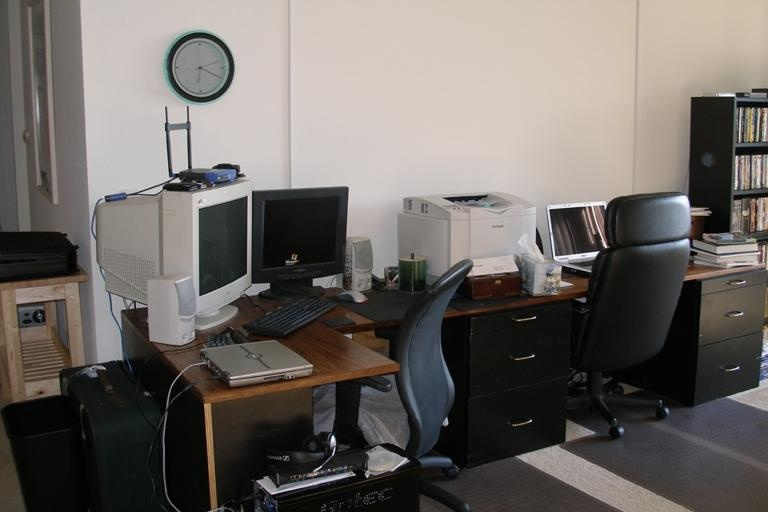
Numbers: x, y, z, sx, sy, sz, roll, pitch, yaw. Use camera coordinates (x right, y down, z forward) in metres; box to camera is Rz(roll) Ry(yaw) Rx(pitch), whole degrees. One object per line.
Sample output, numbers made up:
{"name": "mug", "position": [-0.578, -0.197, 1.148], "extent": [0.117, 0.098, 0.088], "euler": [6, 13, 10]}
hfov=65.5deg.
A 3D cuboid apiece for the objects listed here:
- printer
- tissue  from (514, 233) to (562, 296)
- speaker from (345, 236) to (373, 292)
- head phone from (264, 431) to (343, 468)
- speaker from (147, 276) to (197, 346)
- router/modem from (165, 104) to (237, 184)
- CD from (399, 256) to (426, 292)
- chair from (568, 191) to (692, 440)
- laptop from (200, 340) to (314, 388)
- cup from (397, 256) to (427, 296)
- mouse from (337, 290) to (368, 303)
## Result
{"name": "printer", "position": [0.525, -0.190, 3.945], "extent": [0.896, 0.566, 0.503], "euler": [-6, 16, -34]}
{"name": "tissue ", "position": [0.967, 0.080, 3.829], "extent": [0.242, 0.403, 0.423], "euler": [-7, 11, -20]}
{"name": "speaker", "position": [-0.177, 0.050, 3.888], "extent": [0.208, 0.341, 0.220], "euler": [5, 17, 16]}
{"name": "head phone", "position": [-0.353, 0.857, 2.641], "extent": [0.324, 0.089, 0.263], "euler": [-6, -9, -17]}
{"name": "speaker", "position": [-1.053, 0.270, 2.987], "extent": [0.230, 0.309, 0.176], "euler": [2, 7, 8]}
{"name": "router/modem", "position": [-0.959, -0.588, 3.208], "extent": [0.380, 0.384, 0.377], "euler": [-12, 21, -37]}
{"name": "CD", "position": [0.225, 0.112, 3.816], "extent": [0.214, 0.230, 0.211], "euler": [0, 7, -2]}
{"name": "chair", "position": [1.559, 0.356, 4.029], "extent": [0.719, 1.700, 0.712], "euler": [2, 21, 12]}
{"name": "laptop", "position": [-0.574, 0.480, 2.735], "extent": [0.468, 0.112, 0.331], "euler": [-6, 11, -18]}
{"name": "cup", "position": [0.179, 0.123, 3.766], "extent": [0.221, 0.236, 0.218], "euler": [0, 7, 0]}
{"name": "mouse", "position": [-0.188, 0.249, 3.636], "extent": [0.126, 0.039, 0.088], "euler": [9, 8, 37]}
